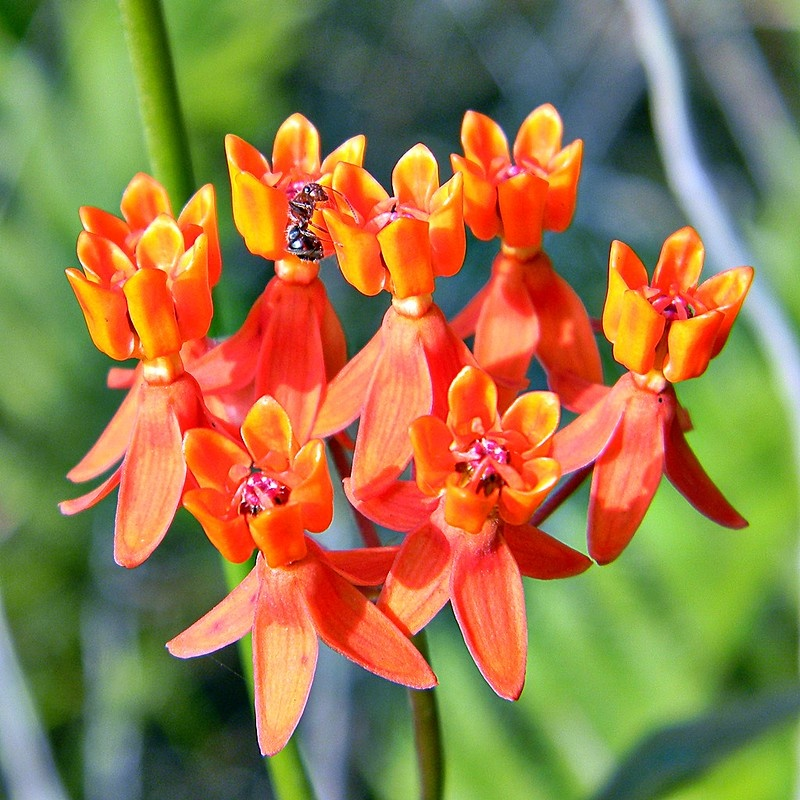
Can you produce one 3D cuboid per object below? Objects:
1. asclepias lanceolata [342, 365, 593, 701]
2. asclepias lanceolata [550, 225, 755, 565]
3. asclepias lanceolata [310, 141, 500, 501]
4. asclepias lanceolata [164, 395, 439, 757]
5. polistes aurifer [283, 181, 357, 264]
[{"bbox_3d":[0.043,0.052,0.471,0.107,0.063,0.166,8,24,-18],"label":"asclepias lanceolata"},{"bbox_3d":[0.120,-0.002,0.508,0.087,0.132,0.114,-8,46,-18],"label":"asclepias lanceolata"},{"bbox_3d":[0.004,-0.032,0.507,0.081,0.129,0.086,-10,15,-36],"label":"asclepias lanceolata"},{"bbox_3d":[-0.051,0.071,0.492,0.108,0.084,0.155,-11,47,5],"label":"asclepias lanceolata"},{"bbox_3d":[-0.042,-0.085,0.516,0.031,0.012,0.039,14,100,15],"label":"polistes aurifer"}]
